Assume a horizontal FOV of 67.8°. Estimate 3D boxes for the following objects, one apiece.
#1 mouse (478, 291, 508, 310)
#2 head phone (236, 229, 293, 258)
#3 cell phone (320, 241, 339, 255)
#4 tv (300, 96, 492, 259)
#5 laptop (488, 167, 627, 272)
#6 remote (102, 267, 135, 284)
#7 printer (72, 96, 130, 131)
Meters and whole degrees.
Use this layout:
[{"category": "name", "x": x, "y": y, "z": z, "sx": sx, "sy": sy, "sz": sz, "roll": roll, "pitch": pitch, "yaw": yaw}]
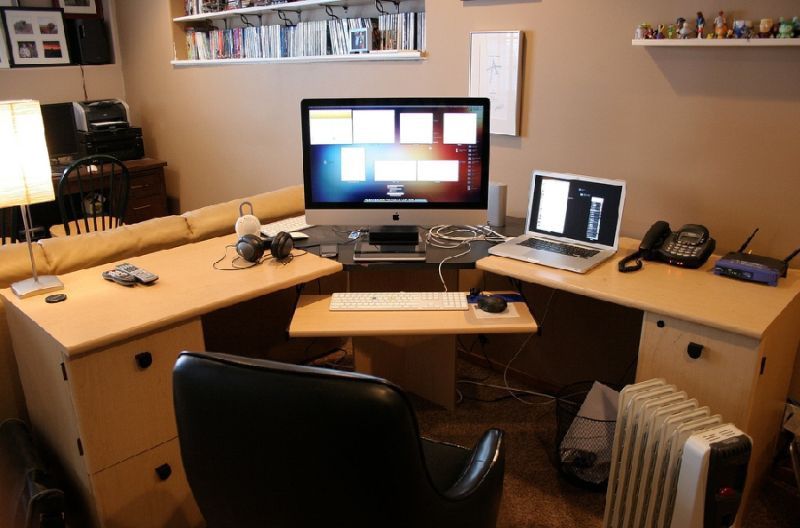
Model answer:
[{"category": "mouse", "x": 0.446, "y": 0.176, "z": 2.834, "sx": 0.143, "sy": 0.059, "sz": 0.117, "roll": 2, "pitch": 20, "yaw": 5}, {"category": "head phone", "x": -0.681, "y": -0.107, "z": 3.023, "sx": 0.263, "sy": 0.139, "sz": 0.198, "roll": -8, "pitch": 21, "yaw": -20}, {"category": "cell phone", "x": -0.358, "y": -0.075, "z": 3.068, "sx": 0.096, "sy": 0.027, "sz": 0.122, "roll": -2, "pitch": 20, "yaw": -6}, {"category": "tv", "x": -0.019, "y": -0.535, "z": 3.066, "sx": 0.934, "sy": 0.629, "sz": 0.268, "roll": -3, "pitch": 20, "yaw": -9}, {"category": "laptop", "x": 0.770, "y": -0.233, "z": 2.911, "sx": 0.513, "sy": 0.362, "sz": 0.435, "roll": 15, "pitch": 25, "yaw": 41}, {"category": "remote", "x": -1.308, "y": 0.048, "z": 2.826, "sx": 0.190, "sy": 0.058, "sz": 0.071, "roll": 10, "pitch": 35, "yaw": 20}, {"category": "printer", "x": -2.792, "y": -1.420, "z": 5.615, "sx": 0.351, "sy": 0.291, "sz": 0.442, "roll": 18, "pitch": 28, "yaw": 33}]
